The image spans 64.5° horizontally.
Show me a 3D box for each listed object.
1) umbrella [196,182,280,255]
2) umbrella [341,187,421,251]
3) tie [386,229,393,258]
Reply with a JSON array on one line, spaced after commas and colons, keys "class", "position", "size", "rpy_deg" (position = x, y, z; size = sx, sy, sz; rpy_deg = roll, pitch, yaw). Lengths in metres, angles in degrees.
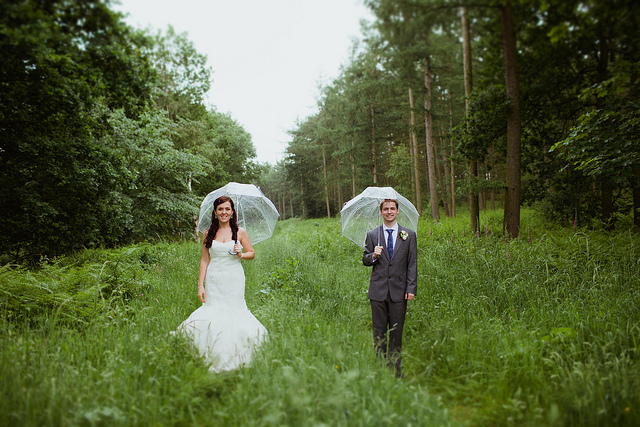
[{"class": "umbrella", "position": [-1.696, -0.082, 10.855], "size": [1.455, 1.559, 1.303], "rpy_deg": [1, 36, -26]}, {"class": "umbrella", "position": [1.000, -0.056, 10.316], "size": [1.278, 1.393, 0.523], "rpy_deg": [19, 35, 18]}, {"class": "tie", "position": [1.221, 0.514, 8.862], "size": [0.121, 0.400, 0.065], "rpy_deg": [0, -12, 18]}]
